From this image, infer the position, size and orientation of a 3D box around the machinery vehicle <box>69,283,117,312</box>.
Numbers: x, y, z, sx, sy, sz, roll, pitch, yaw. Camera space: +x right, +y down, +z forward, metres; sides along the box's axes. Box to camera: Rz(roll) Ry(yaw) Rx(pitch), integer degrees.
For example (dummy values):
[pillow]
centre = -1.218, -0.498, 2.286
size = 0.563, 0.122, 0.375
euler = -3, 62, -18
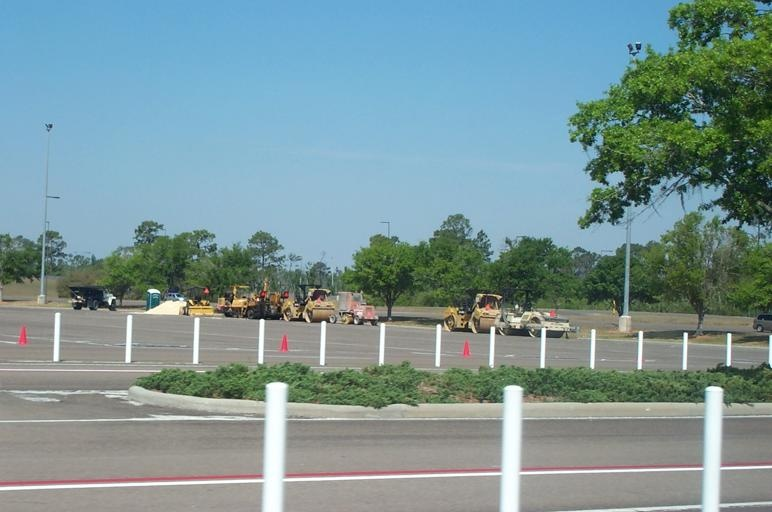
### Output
[machinery vehicle]
centre = -19.942, 2.819, 109.814
size = 2.757, 1.284, 1.868
euler = -1, 0, 6
